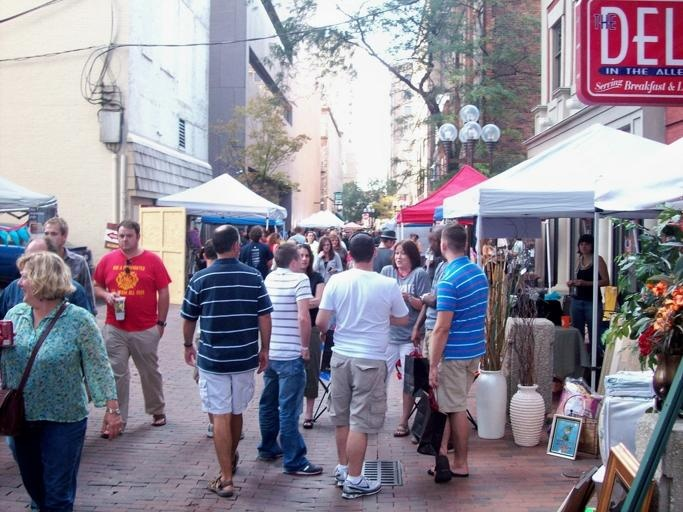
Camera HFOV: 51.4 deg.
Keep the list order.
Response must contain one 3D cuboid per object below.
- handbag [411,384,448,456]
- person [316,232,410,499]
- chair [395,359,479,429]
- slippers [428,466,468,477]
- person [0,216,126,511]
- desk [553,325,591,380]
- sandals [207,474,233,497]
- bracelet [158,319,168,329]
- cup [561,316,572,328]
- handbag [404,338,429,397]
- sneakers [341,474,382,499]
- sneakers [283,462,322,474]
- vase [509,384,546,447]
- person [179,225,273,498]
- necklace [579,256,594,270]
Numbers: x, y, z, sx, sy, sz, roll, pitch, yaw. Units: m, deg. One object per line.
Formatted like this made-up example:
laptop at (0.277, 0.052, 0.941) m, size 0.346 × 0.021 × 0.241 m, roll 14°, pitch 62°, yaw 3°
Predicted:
handbag at (0.863, 1.561, 6.793) m, size 0.263 × 0.701 × 0.704 m, roll 0°, pitch -14°, yaw 15°
person at (0.185, 0.991, 6.632) m, size 0.819 × 2.367 × 0.600 m, roll 0°, pitch 6°, yaw -3°
chair at (0.955, 1.333, 7.192) m, size 0.578 × 0.829 × 0.633 m, roll 0°, pitch -3°, yaw -6°
slippers at (1.035, 2.106, 6.907) m, size 0.353 × 0.106 × 0.137 m, roll 3°, pitch 1°, yaw 1°
person at (-2.138, 0.992, 5.360) m, size 0.893 × 2.029 × 0.480 m, roll 0°, pitch 6°, yaw 6°
desk at (2.903, 1.237, 9.016) m, size 0.563 × 0.661 × 0.262 m, roll -1°, pitch 6°, yaw -12°
sandals at (-1.109, 2.095, 6.535) m, size 0.284 × 0.159 × 0.173 m, roll 3°, pitch 7°, yaw 29°
bracelet at (-2.100, 0.781, 8.245) m, size 0.112 × 0.129 × 0.117 m, roll 3°, pitch -2°, yaw 10°
cup at (2.939, 0.854, 9.238) m, size 0.152 × 0.160 × 0.100 m, roll -1°, pitch -1°, yaw 20°
handbag at (0.748, 1.099, 7.068) m, size 0.308 × 0.607 × 0.472 m, roll -4°, pitch -2°, yaw 13°
sneakers at (0.173, 2.112, 6.580) m, size 0.387 × 0.189 × 0.152 m, roll -2°, pitch 5°, yaw -24°
sneakers at (-0.382, 2.075, 6.957) m, size 0.369 × 0.180 × 0.140 m, roll -1°, pitch 3°, yaw -3°
vase at (2.029, 1.749, 7.942) m, size 0.485 × 0.858 × 0.535 m, roll -2°, pitch -3°, yaw 21°
person at (-1.138, 0.947, 6.613) m, size 0.739 × 2.425 × 0.582 m, roll 0°, pitch 6°, yaw 4°
necklace at (3.471, 0.093, 10.051) m, size 0.138 × 0.202 × 0.075 m, roll -2°, pitch -11°, yaw 36°
